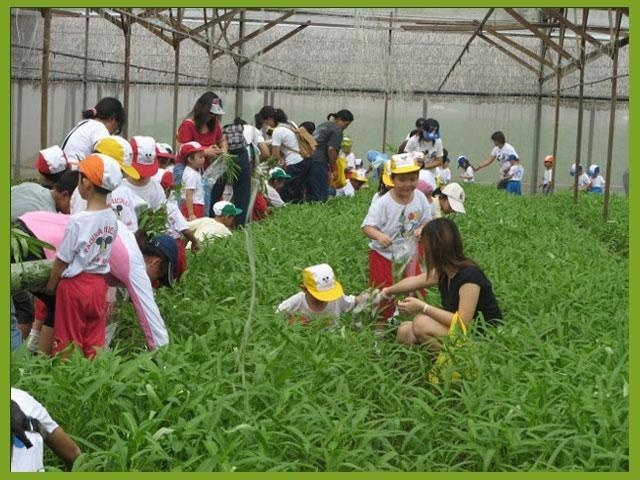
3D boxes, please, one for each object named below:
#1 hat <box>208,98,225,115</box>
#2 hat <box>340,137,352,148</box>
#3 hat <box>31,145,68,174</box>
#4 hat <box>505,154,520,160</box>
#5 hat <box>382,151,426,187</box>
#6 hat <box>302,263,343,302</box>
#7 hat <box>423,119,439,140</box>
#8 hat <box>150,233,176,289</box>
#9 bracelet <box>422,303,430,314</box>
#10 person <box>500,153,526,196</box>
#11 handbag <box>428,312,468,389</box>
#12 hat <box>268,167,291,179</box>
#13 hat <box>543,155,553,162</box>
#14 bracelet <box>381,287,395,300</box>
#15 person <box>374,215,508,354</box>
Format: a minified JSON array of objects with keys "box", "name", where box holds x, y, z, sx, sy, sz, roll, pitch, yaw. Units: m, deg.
[{"box":[-1.366,-1.724,8.109,0.133,0.118,0.208,-1,29,-44],"name":"hat"},{"box":[0.545,-2.089,13.346,0.228,0.208,0.363,-2,15,4],"name":"hat"},{"box":[-2.309,-0.674,5.333,0.246,0.229,0.242,-2,11,-28],"name":"hat"},{"box":[5.528,-2.340,17.866,0.341,0.186,0.135,-1,10,-22],"name":"hat"},{"box":[0.728,-0.659,5.625,0.246,0.223,0.361,-9,-1,-2],"name":"hat"},{"box":[-0.018,0.306,4.939,0.227,0.159,0.313,-17,37,-26],"name":"hat"},{"box":[1.787,-1.767,10.145,0.202,0.186,0.354,-1,54,-10],"name":"hat"},{"box":[-1.316,0.187,5.154,0.238,0.449,0.204,0,10,-18],"name":"hat"},{"box":[0.808,0.532,4.806,0.048,0.069,0.022,5,-4,-8],"name":"bracelet"},{"box":[5.599,-1.936,18.222,0.534,1.105,1.097,5,10,16],"name":"person"},{"box":[0.901,0.780,4.377,0.170,0.463,0.209,37,-40,-28],"name":"handbag"},{"box":[-0.689,-1.068,10.226,0.263,0.165,0.193,7,20,-15],"name":"hat"},{"box":[6.842,-2.427,18.756,0.210,0.223,0.318,-5,13,-37],"name":"hat"},{"box":[0.554,0.450,5.160,0.075,0.111,0.108,-7,-14,-6],"name":"bracelet"},{"box":[0.821,0.269,5.138,0.905,1.512,0.719,-1,5,-11],"name":"person"}]
